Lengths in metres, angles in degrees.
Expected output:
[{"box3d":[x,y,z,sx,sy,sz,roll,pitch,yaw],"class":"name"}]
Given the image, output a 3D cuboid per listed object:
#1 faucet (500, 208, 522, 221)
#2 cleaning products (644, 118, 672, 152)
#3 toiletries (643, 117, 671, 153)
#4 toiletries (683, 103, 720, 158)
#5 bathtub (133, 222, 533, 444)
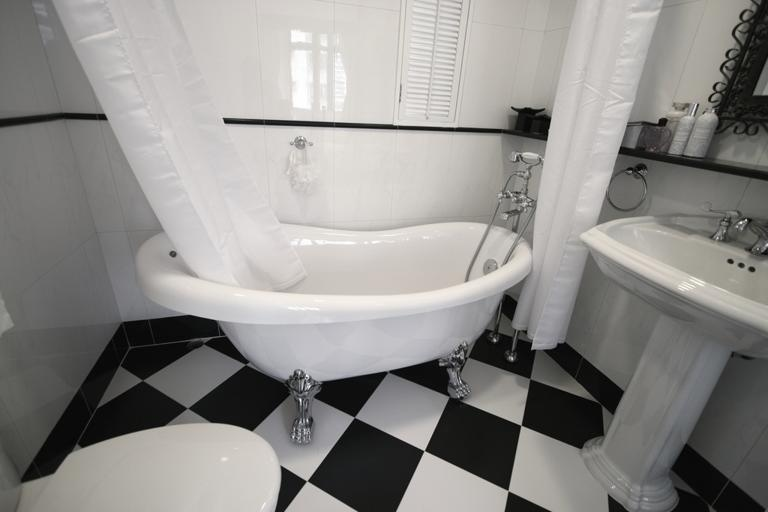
[{"box3d":[0.765,-0.240,2.709,0.175,0.045,0.095,-17,24,-39],"class":"faucet"},{"box3d":[1.303,-0.577,2.205,0.077,0.161,0.112,-5,13,-36],"class":"cleaning products"},{"box3d":[1.296,-0.569,2.176,0.082,0.140,0.105,-4,29,-6],"class":"toiletries"},{"box3d":[1.442,-0.552,2.085,0.088,0.217,0.087,0,19,-28],"class":"toiletries"},{"box3d":[-0.159,0.291,2.491,1.966,0.874,0.928,-13,32,-21],"class":"bathtub"}]
